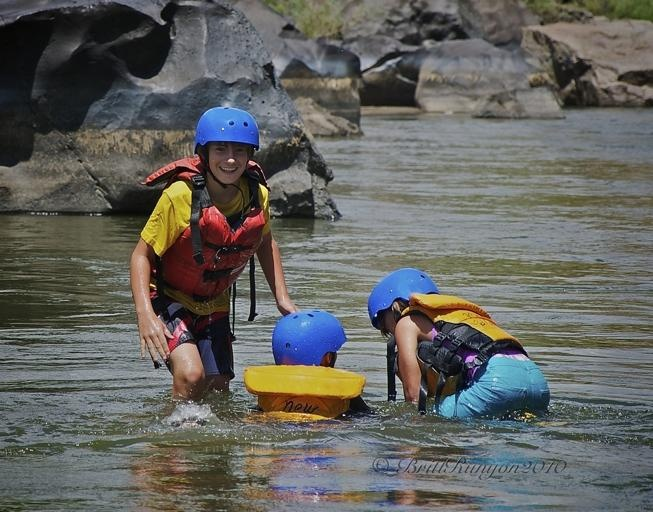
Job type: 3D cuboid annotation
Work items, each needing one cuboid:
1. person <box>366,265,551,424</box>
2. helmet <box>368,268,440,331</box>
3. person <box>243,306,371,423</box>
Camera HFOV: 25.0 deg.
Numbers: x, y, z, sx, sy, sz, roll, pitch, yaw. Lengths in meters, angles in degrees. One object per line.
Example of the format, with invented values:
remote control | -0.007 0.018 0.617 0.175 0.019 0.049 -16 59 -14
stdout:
person | 1.058 0.799 13.218 1.722 1.102 0.894 24 19 40
helmet | 0.641 0.294 13.684 0.683 0.401 0.500 -15 3 -11
person | -0.169 1.039 13.013 1.088 0.888 0.641 1 25 2
